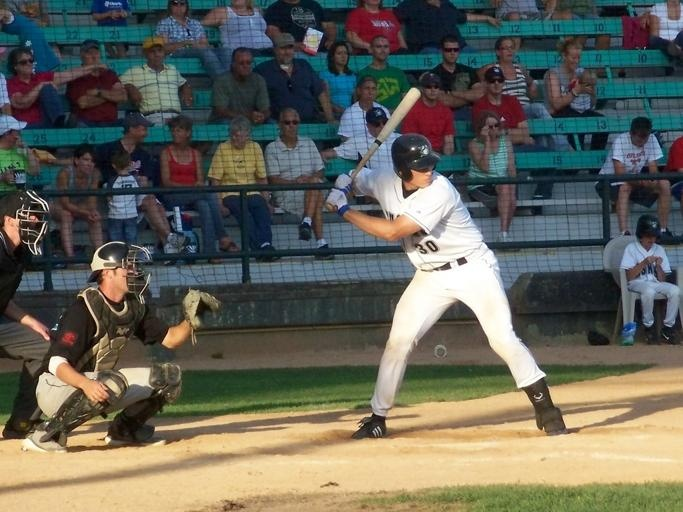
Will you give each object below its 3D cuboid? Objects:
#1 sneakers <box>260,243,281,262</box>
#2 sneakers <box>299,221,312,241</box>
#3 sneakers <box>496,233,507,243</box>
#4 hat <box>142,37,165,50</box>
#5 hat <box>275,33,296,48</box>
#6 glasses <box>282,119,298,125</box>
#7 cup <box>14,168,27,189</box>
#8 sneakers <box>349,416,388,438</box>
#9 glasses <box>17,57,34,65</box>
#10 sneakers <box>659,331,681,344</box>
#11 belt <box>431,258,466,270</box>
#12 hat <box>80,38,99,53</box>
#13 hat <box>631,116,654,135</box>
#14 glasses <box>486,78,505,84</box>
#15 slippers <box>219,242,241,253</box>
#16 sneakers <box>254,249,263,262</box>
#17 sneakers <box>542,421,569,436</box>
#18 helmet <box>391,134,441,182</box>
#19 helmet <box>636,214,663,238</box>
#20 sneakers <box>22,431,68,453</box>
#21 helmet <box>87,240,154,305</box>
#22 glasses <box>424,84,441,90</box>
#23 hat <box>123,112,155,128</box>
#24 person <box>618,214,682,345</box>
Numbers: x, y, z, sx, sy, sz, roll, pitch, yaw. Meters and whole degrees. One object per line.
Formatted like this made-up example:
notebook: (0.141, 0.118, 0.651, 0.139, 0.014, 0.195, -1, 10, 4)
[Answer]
sneakers: (-0.857, -0.019, 18.649, 0.259, 0.236, 0.487, -4, 6, -3)
sneakers: (-0.438, -0.281, 18.816, 0.099, 0.249, 0.113, 1, 48, -2)
sneakers: (1.981, -0.230, 19.269, 0.185, 0.161, 0.098, -2, 3, 1)
hat: (-2.410, -2.701, 19.795, 0.195, 0.128, 0.256, -11, -7, -20)
hat: (-0.718, -2.722, 19.863, 0.227, 0.186, 0.247, 1, 7, 39)
glasses: (-0.606, -1.635, 19.335, 0.250, 0.068, 0.121, -8, 7, -40)
cup: (-3.891, -0.918, 18.855, 0.149, 0.221, 0.358, -5, 6, -9)
sneakers: (0.260, 1.621, 14.695, 0.309, 0.194, 0.179, 7, -11, -10)
glasses: (-3.926, -2.390, 19.372, 0.197, 0.085, 0.049, -7, 7, -37)
sneakers: (3.945, 0.992, 18.663, 0.279, 0.094, 0.119, 21, 50, 8)
belt: (1.033, 0.083, 14.619, 0.311, 0.116, 0.045, -3, 6, 2)
hat: (-3.186, -2.630, 19.698, 0.236, 0.148, 0.170, -4, 6, -7)
hat: (3.860, -1.651, 19.938, 0.209, 0.232, 0.250, 0, 11, 6)
glasses: (1.979, -2.218, 19.946, 0.186, 0.067, 0.088, -4, 6, -12)
slippers: (-1.338, -0.079, 18.687, 0.222, 0.082, 0.118, 5, 29, 17)
sneakers: (-0.979, 0.022, 18.539, 0.086, 0.126, 0.175, -2, 26, -2)
sneakers: (2.003, 1.610, 14.602, 0.176, 0.128, 0.140, -5, -15, 7)
helmet: (0.666, -0.880, 14.610, 0.471, 0.375, 0.368, 26, 37, 33)
helmet: (3.707, -0.334, 18.728, 0.248, 0.252, 0.281, -3, 7, 0)
sneakers: (-2.753, 1.723, 14.415, 0.491, 0.205, 0.160, 1, -6, 7)
helmet: (-2.015, 0.127, 14.611, 0.641, 0.538, 0.465, -3, 0, -3)
glasses: (1.150, -2.115, 19.693, 0.193, 0.063, 0.071, -4, 6, -9)
hat: (-2.516, -1.634, 19.056, 0.286, 0.154, 0.189, -5, 14, -5)
person: (3.716, 0.299, 18.739, 0.680, 1.518, 0.456, -3, 6, 10)
